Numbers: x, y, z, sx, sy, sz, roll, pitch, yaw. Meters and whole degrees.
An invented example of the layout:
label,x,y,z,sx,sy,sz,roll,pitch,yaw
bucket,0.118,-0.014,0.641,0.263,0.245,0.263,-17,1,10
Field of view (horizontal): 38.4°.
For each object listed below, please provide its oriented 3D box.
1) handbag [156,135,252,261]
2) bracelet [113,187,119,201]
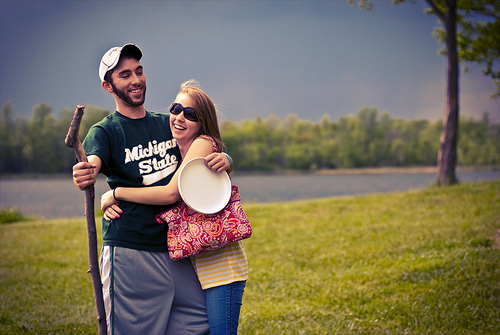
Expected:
label,x,y,z,sx,sy,sz,roll,pitch,yaw
handbag,-0.737,0.399,10.467,1.310,1.852,0.403,-15,28,-2
bracelet,-1.980,0.386,10.663,0.096,0.198,0.034,16,-17,-39
